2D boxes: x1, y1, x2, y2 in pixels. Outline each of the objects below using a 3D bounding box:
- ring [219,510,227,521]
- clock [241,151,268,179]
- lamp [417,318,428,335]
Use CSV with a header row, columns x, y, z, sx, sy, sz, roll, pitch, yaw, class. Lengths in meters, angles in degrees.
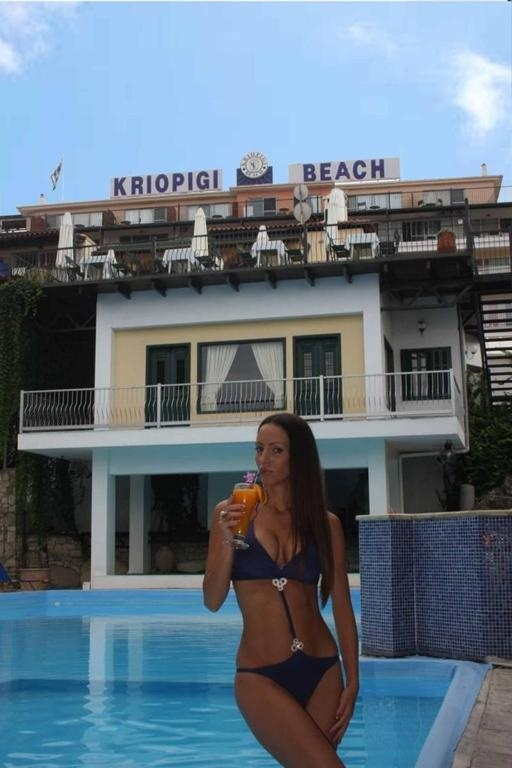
x,y,z,sx,sy,sz,roll,pitch,yaw,class
-0.079,0.312,2.182,0.015,0.023,0.022,0,-30,3,ring
-0.076,-9.015,37.064,1.256,0.994,0.465,12,-3,27,clock
3.311,-1.186,18.047,0.193,0.306,0.237,1,-5,-23,lamp
